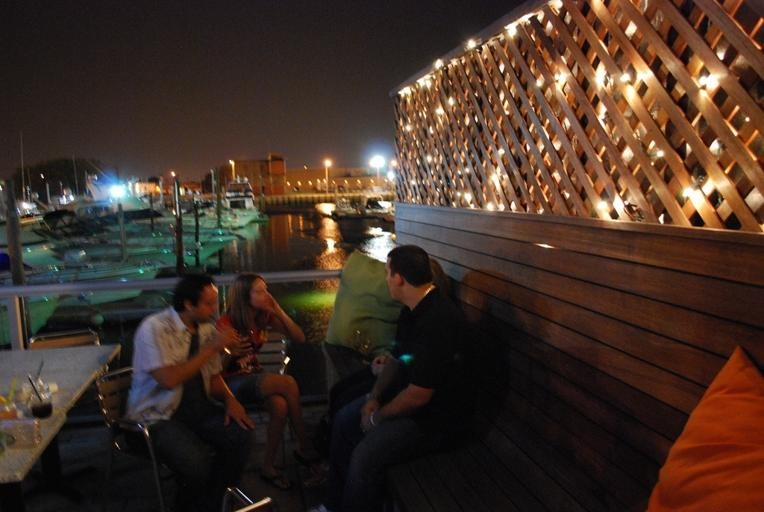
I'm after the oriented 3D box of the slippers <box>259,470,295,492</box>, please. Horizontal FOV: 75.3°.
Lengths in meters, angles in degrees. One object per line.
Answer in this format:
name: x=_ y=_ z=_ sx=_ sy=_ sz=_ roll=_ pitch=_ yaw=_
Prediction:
slippers: x=-0.774 y=1.636 z=3.643 sx=0.258 sy=0.076 sz=0.104 roll=11 pitch=13 yaw=34
